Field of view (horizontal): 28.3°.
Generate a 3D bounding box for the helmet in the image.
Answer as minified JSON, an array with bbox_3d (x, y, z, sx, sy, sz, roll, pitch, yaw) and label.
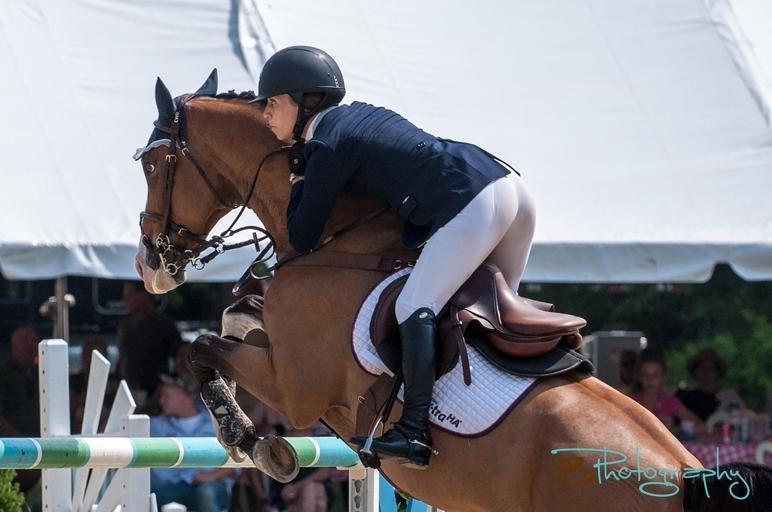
[{"bbox_3d":[-0.626,-1.332,11.181,0.574,0.343,0.413,-6,4,-3],"label":"helmet"}]
